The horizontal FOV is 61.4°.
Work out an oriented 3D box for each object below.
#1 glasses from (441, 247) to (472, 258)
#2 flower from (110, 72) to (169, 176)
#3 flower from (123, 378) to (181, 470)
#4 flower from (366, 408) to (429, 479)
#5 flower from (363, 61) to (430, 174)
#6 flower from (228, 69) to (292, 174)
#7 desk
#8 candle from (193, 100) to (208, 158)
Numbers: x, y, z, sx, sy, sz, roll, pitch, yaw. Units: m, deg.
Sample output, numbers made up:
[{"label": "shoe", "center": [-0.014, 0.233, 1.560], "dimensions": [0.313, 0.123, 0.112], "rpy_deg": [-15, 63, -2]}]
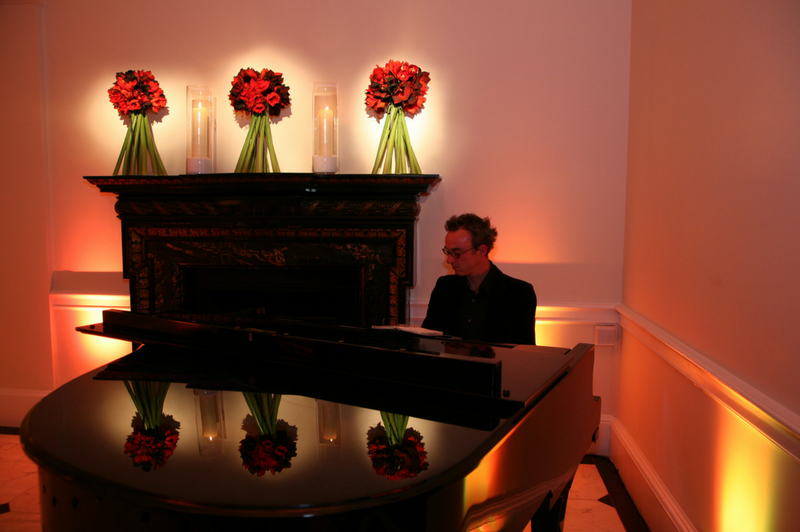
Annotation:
[{"label": "glasses", "center": [0.341, -0.083, 4.128], "dimensions": [0.163, 0.071, 0.043], "rpy_deg": [10, 11, 26]}, {"label": "flower", "center": [-1.824, -1.012, 4.730], "dimensions": [0.387, 0.744, 0.579], "rpy_deg": [1, 11, -22]}, {"label": "flower", "center": [-1.065, 0.635, 2.909], "dimensions": [0.218, 0.411, 0.194], "rpy_deg": [-13, -20, -6]}, {"label": "flower", "center": [-0.013, 0.708, 2.701], "dimensions": [0.234, 0.107, 0.386], "rpy_deg": [5, 10, -3]}, {"label": "flower", "center": [-0.036, -1.023, 4.641], "dimensions": [0.450, 0.759, 0.359], "rpy_deg": [5, 10, -2]}, {"label": "flower", "center": [-0.985, -1.016, 4.679], "dimensions": [0.438, 0.722, 0.416], "rpy_deg": [4, 10, -5]}, {"label": "desk", "center": [-0.879, 0.285, 5.000], "dimensions": [2.265, 1.991, 0.691], "rpy_deg": [2, 8, 0]}, {"label": "candle", "center": [-1.361, -0.940, 4.605], "dimensions": [0.108, 0.380, 0.067], "rpy_deg": [2, 10, -14]}]
